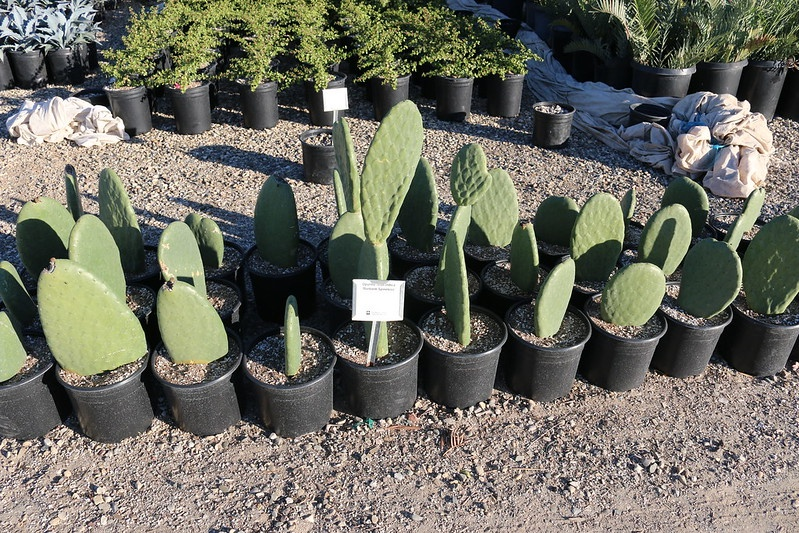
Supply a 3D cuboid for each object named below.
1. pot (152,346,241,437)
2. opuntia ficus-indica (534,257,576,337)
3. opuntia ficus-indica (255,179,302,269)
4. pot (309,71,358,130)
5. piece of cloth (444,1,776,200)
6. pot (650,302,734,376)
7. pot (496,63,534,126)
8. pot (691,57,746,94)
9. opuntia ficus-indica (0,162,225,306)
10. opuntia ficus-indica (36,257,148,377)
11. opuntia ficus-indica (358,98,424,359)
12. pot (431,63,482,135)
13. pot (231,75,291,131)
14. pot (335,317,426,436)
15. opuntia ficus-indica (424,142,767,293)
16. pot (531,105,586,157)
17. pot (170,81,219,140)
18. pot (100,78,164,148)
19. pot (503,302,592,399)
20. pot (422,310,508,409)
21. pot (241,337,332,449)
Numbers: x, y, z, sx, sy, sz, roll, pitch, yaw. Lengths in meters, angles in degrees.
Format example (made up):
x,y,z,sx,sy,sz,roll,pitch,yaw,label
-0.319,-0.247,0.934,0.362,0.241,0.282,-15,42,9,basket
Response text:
x,y,z,sx,sy,sz,roll,pitch,yaw,label
-1.187,0.804,4.316,0.464,0.402,0.535,0,35,-4,pot
0.965,0.209,4.460,0.065,0.458,0.248,30,61,27,opuntia ficus-indica
-0.830,-0.296,4.957,0.262,0.579,0.240,1,16,2,opuntia ficus-indica
-0.679,-1.652,7.400,0.542,0.515,0.619,2,40,-2,pot
1.554,-2.041,8.401,1.108,0.879,5.767,-20,42,-26,piece of cloth
1.874,0.506,4.723,0.433,0.352,0.419,1,23,0,pot
1.168,-1.755,7.478,0.369,0.422,0.406,2,33,3,pot
3.252,-1.965,7.304,0.358,0.299,0.390,-1,36,1,pot
-1.814,-0.228,4.733,0.811,0.725,1.047,18,11,36,opuntia ficus-indica
-1.801,0.318,4.192,0.507,0.780,0.227,12,45,21,opuntia ficus-indica
-0.084,-0.393,4.140,0.309,1.050,0.420,13,29,20,opuntia ficus-indica
0.567,-1.704,7.316,0.414,0.474,0.446,1,38,-1,pot
-1.374,-1.568,7.043,0.413,0.468,0.449,3,37,-2,pot
-0.130,0.651,4.547,0.540,0.441,0.579,1,34,-1,pot
1.475,-0.334,5.229,2.031,0.884,0.658,5,43,4,opuntia ficus-indica
1.538,-1.355,7.123,0.414,0.374,0.439,-1,33,1,pot
-1.922,-1.541,7.075,0.417,0.461,0.449,3,30,-2,pot
-2.535,-1.466,6.959,0.410,0.486,0.480,5,37,-2,pot
0.925,0.585,4.612,0.368,0.348,0.413,6,22,7,pot
0.369,0.597,4.566,0.481,0.439,0.563,-6,24,-18,pot
-0.653,0.712,4.297,0.500,0.419,0.579,0,33,-1,pot
